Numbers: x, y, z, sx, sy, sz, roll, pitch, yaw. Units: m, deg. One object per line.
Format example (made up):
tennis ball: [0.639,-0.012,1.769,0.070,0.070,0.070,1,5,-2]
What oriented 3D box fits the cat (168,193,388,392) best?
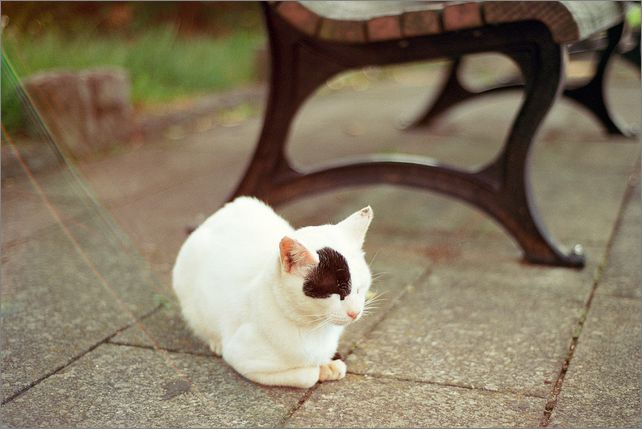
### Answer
cat: [-0.277,0.334,4.160,1.180,0.943,0.759,32,30,33]
